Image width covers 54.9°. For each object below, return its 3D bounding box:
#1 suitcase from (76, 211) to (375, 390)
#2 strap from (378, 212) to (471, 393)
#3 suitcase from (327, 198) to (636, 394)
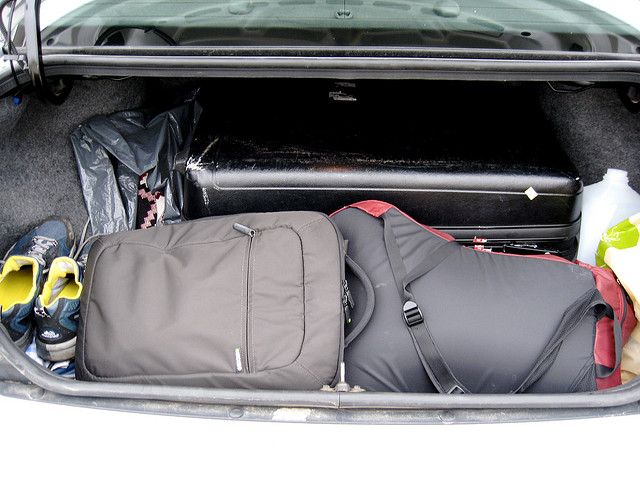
[{"bbox_3d":[-0.219,0.157,1.412,0.596,0.184,0.407,-3,62,5],"label":"suitcase"},{"bbox_3d":[0.247,0.161,1.483,0.184,0.067,0.337,-4,69,-30],"label":"strap"},{"bbox_3d":[0.378,0.160,1.478,0.559,0.192,0.410,0,62,4],"label":"suitcase"}]
